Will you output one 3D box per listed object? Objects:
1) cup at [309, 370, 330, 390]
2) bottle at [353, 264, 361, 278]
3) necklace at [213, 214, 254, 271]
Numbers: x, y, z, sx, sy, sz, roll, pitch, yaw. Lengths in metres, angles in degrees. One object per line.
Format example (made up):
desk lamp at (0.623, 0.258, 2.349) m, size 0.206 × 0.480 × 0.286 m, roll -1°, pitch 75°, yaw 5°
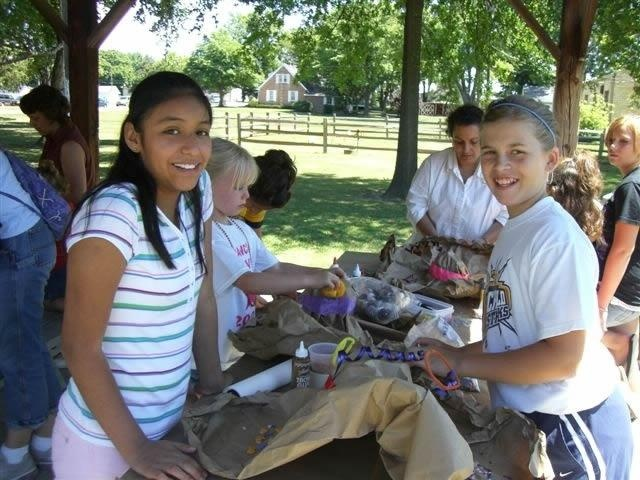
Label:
cup at (-0.009, 0.611, 2.261) m, size 0.067 × 0.058 × 0.073 m, roll 3°, pitch 2°, yaw 0°
bottle at (0.257, 0.215, 3.549) m, size 0.061 × 0.121 × 0.060 m, roll -1°, pitch -1°, yaw 0°
necklace at (-0.508, 0.022, 2.979) m, size 0.143 × 0.303 × 0.285 m, roll -10°, pitch -3°, yaw 30°
